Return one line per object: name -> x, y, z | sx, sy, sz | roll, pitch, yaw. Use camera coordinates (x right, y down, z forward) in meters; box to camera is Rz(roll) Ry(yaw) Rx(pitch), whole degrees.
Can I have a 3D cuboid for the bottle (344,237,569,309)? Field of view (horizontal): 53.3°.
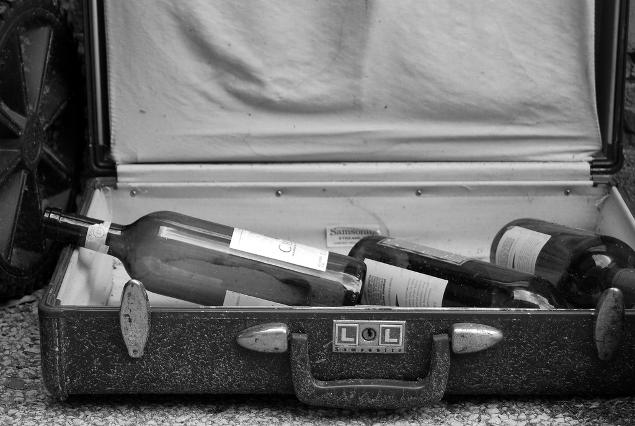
bottle -> 0.262, 0.129, 1.285 | 0.457, 0.082, 0.164 | 11, 16, 27
